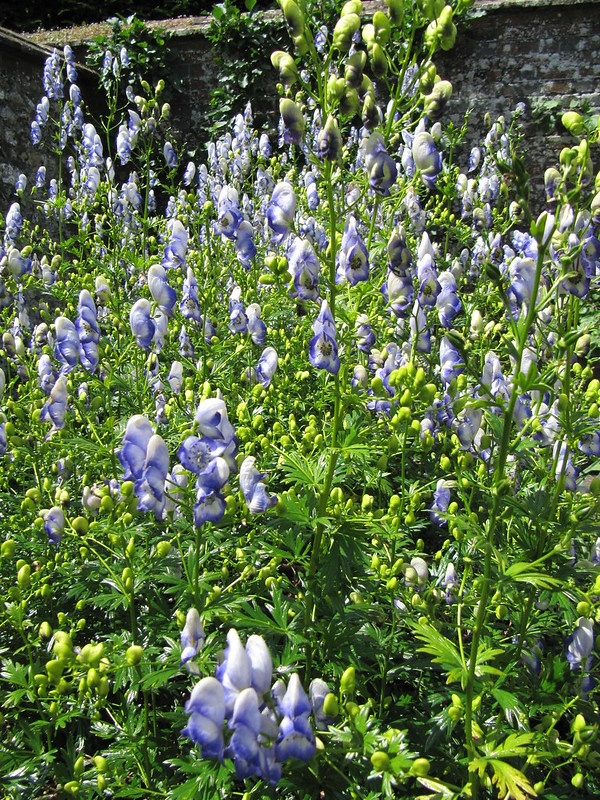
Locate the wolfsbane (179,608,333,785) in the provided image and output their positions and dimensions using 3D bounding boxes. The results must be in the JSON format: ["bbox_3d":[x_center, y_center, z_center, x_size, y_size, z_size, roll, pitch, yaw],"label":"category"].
[{"bbox_3d":[-0.095,0.729,2.027,0.421,0.429,0.457,5,11,-6],"label":"wolfsbane"}]
